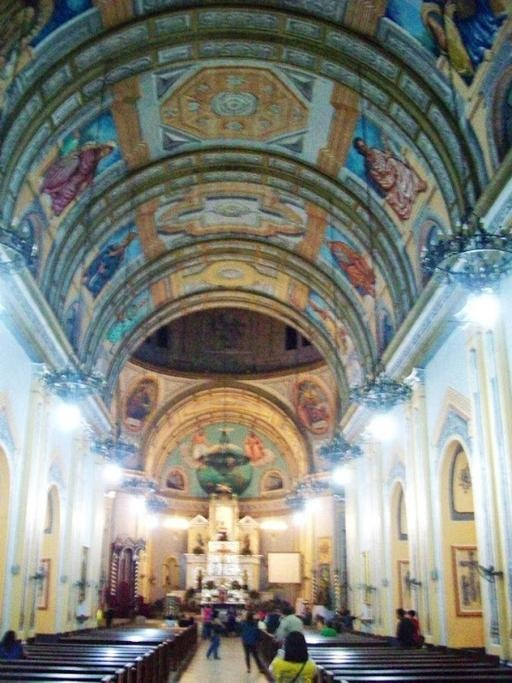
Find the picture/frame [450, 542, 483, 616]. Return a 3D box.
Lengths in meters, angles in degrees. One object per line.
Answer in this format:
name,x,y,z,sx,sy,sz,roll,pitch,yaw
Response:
picture/frame,3.904,4.469,10.963,0.504,1.226,0.270,-7,-25,15

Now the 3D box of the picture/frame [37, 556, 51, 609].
picture/frame,-5.476,6.281,15.259,0.334,1.254,0.689,7,-25,-16
